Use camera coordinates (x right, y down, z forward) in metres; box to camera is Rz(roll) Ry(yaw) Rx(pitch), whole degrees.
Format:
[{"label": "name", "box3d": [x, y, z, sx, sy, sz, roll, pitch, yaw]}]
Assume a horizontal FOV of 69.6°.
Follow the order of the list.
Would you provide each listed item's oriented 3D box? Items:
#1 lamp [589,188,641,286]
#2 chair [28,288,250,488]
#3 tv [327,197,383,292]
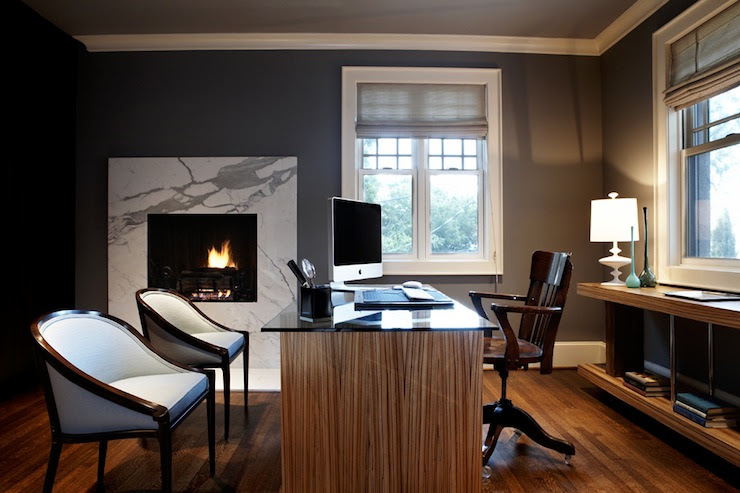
[{"label": "lamp", "box3d": [2.310, -0.095, 5.038, 0.414, 0.835, 0.621, 1, 4, 26]}, {"label": "chair", "box3d": [-1.705, 0.835, 4.213, 1.110, 1.621, 1.532, -1, -1, 5]}, {"label": "tv", "box3d": [-0.139, -0.027, 4.515, 0.080, 0.760, 0.837, -2, -3, 31]}]
